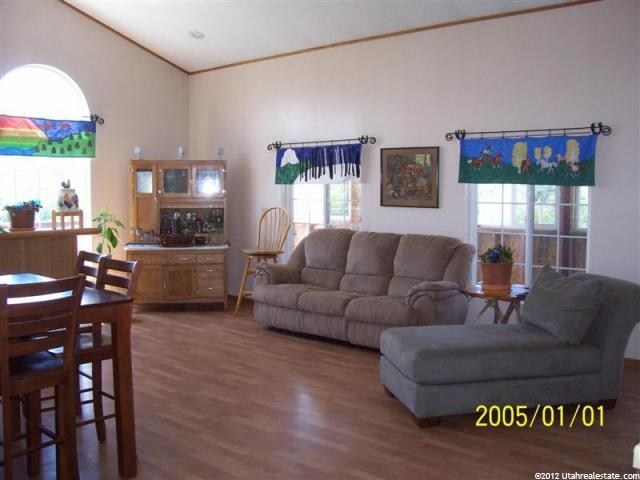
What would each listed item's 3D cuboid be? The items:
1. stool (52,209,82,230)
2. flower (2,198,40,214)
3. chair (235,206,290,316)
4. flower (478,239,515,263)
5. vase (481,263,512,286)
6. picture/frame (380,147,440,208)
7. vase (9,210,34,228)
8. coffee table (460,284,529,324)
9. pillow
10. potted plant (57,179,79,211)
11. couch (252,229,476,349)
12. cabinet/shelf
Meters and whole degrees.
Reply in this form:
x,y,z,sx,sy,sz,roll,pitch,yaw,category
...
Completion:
x,y,z,sx,sy,sz,roll,pitch,yaw,category
-3.099,-0.270,5.983,0.406,0.306,0.391,0,-1,-32,stool
-3.263,-0.359,5.315,0.227,0.106,0.226,-9,-9,4,flower
-0.818,0.296,7.118,0.703,1.465,0.633,6,-5,-27,chair
1.759,0.132,4.780,0.257,0.158,0.308,7,10,43,flower
1.720,0.324,4.741,0.241,0.173,0.240,-3,4,-37,vase
1.131,-0.773,5.955,0.777,0.769,0.034,3,4,36,picture/frame
-3.208,-0.209,5.264,0.212,0.152,0.204,-3,-4,43,vase
1.710,0.606,4.762,0.557,0.406,0.536,-2,3,-20,coffee table
1.927,0.518,3.856,0.152,0.489,0.498,27,-4,-18,pillow
-3.042,-0.490,5.892,0.111,0.252,0.206,6,10,37,potted plant
0.425,0.561,5.778,2.602,1.236,1.168,3,3,42,couch
-1.999,-0.055,6.926,1.371,2.150,0.630,-2,8,-10,cabinet/shelf
